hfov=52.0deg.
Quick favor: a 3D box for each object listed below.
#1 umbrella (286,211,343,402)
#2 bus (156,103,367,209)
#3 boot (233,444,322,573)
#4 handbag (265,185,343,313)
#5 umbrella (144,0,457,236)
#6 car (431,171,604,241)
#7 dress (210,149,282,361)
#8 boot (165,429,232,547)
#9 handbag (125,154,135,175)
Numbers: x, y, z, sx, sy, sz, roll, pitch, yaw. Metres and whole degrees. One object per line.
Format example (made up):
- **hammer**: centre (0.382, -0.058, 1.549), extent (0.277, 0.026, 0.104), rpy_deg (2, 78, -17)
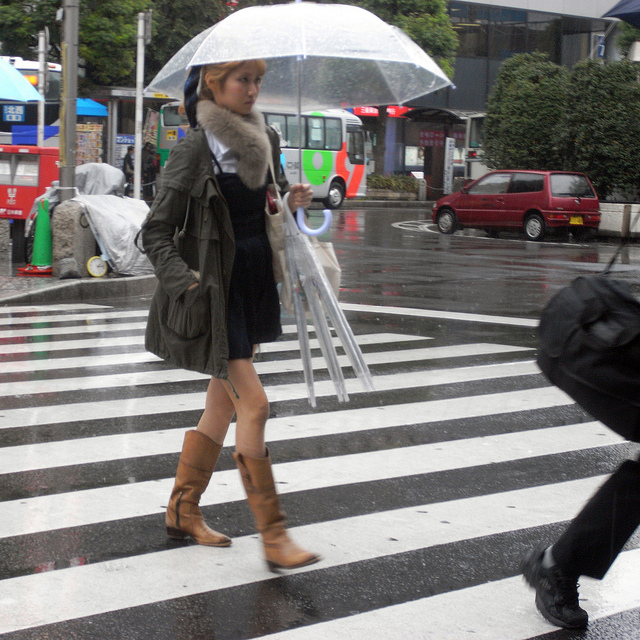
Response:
- **umbrella**: centre (-0.015, -0.043, 2.646), extent (0.120, 0.768, 0.300), rpy_deg (3, 5, 32)
- **bus**: centre (-0.071, -8.990, 35.085), extent (3.706, 4.868, 11.528), rpy_deg (-18, 23, -40)
- **boot**: centre (-0.161, 0.700, 2.423), extent (0.315, 0.426, 0.147), rpy_deg (3, 4, 25)
- **handbag**: centre (-0.119, -0.227, 2.580), extent (0.196, 0.452, 0.266), rpy_deg (-23, 29, 11)
- **umbrella**: centre (-0.077, -0.960, 3.098), extent (1.259, 1.173, 1.622), rpy_deg (2, 4, 16)
- **car**: centre (6.636, -3.748, 21.962), extent (4.667, 1.892, 2.569), rpy_deg (13, 16, 40)
- **dress**: centre (-0.264, -0.240, 2.489), extent (0.144, 0.749, 0.414), rpy_deg (3, 5, 30)
- **boot**: centre (-0.497, 0.669, 2.657), extent (0.275, 0.480, 0.184), rpy_deg (0, 4, -7)
- **handbag**: centre (-8.819, -7.082, 30.031), extent (0.304, 0.778, 1.183), rpy_deg (0, 4, -14)
